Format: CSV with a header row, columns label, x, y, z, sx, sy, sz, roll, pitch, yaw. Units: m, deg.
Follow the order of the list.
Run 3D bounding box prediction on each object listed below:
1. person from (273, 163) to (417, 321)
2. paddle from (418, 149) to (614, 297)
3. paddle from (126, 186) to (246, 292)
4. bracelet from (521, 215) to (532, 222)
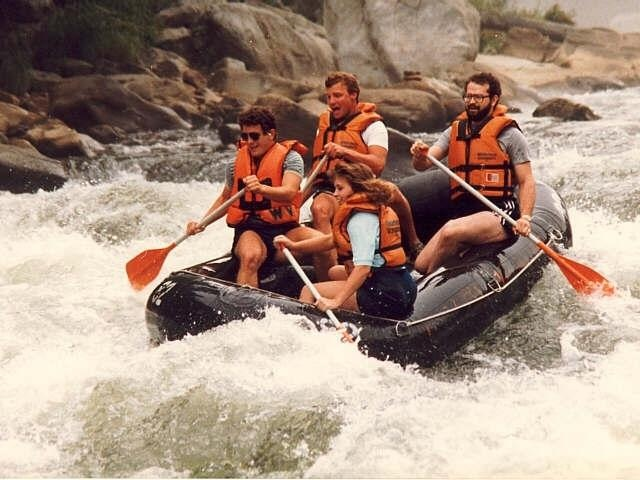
label,x,y,z,sx,sy,sz,roll,pitch,yaw
person,0.198,0.117,6.091,1.108,1.330,0.885,4,7,18
paddle,1.715,-0.108,6.931,2.534,0.368,0.161,37,-5,-14
paddle,-1.319,0.015,7.578,1.516,0.315,0.069,-33,26,25
bracelet,1.680,-0.187,6.381,0.063,0.028,0.079,8,10,-30
